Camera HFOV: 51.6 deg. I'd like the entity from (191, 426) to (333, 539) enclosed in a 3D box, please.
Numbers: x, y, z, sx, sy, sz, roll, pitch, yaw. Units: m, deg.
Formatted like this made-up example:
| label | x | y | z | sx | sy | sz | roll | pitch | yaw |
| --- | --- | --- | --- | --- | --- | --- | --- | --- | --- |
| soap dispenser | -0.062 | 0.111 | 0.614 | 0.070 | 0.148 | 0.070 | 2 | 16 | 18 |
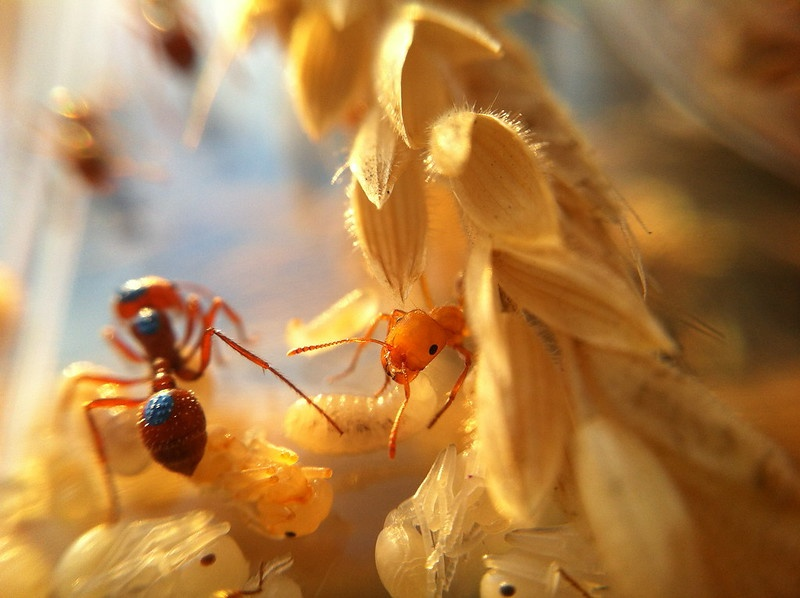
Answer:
| label | x | y | z | sx | sy | sz | roll | pitch | yaw |
| --- | --- | --- | --- | --- | --- | --- | --- | --- | --- |
| entity | -0.218 | 0.275 | 1.289 | 0.186 | 0.079 | 0.134 | 33 | 73 | 11 |
